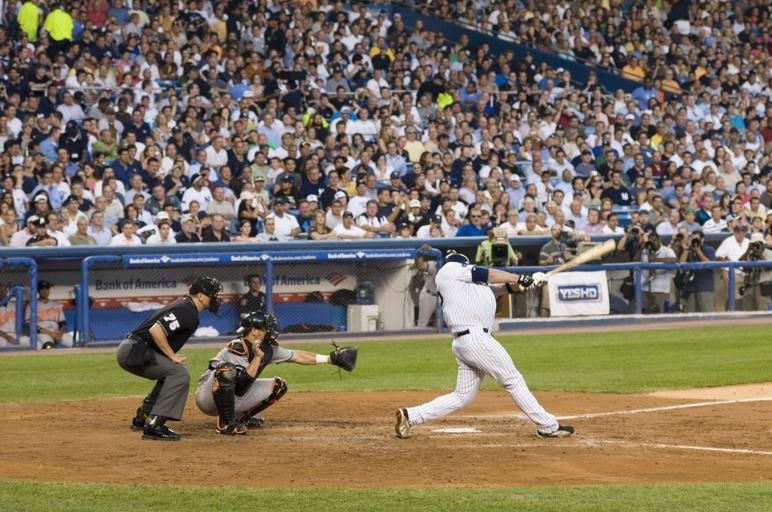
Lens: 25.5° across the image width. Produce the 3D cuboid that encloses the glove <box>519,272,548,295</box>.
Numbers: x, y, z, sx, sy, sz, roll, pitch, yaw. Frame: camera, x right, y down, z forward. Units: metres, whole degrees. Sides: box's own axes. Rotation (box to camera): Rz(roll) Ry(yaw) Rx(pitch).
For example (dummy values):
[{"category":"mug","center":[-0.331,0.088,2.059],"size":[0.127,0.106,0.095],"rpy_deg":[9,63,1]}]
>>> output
[{"category":"glove","center":[2.685,0.436,31.257],"size":[0.518,0.347,1.178],"rpy_deg":[-2,-4,4]}]

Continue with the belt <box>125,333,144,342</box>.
[{"category":"belt","center":[-4.621,1.460,31.009],"size":[0.157,0.078,0.202],"rpy_deg":[37,-13,-31]}]

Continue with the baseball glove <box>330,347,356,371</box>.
[{"category":"baseball glove","center":[-0.793,1.852,31.511],"size":[0.512,0.361,0.359],"rpy_deg":[-6,12,2]}]
